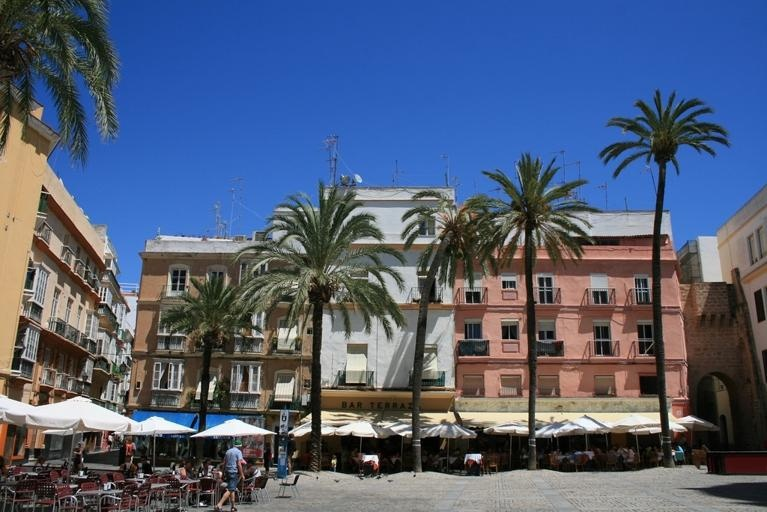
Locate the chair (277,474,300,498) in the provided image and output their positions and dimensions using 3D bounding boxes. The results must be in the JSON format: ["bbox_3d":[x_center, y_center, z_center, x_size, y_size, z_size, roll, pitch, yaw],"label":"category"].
[{"bbox_3d":[-4.409,10.531,25.143,0.895,0.893,3.075,3,-20,-10],"label":"chair"}]
